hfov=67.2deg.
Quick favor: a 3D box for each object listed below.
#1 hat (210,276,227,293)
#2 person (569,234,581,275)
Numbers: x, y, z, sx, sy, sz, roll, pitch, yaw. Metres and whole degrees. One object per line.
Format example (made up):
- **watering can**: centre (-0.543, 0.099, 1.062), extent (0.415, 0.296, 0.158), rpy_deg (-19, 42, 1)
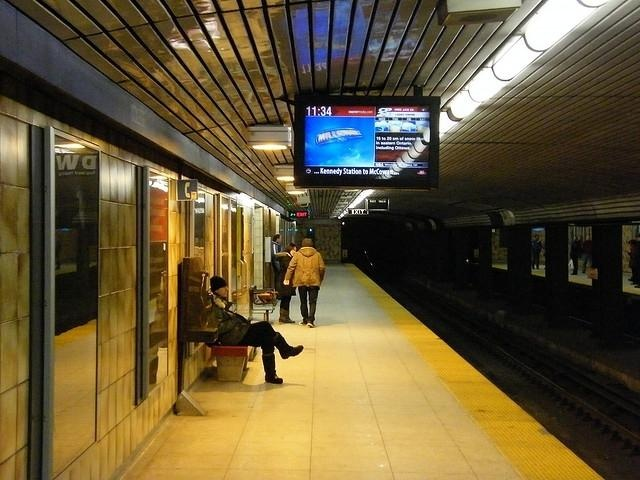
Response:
- **hat**: centre (-1.253, 0.527, 5.870), extent (0.205, 0.177, 0.147), rpy_deg (-19, 11, -28)
- **person**: centre (11.153, 0.765, 21.084), extent (0.336, 1.573, 1.169), rpy_deg (1, 1, 26)
